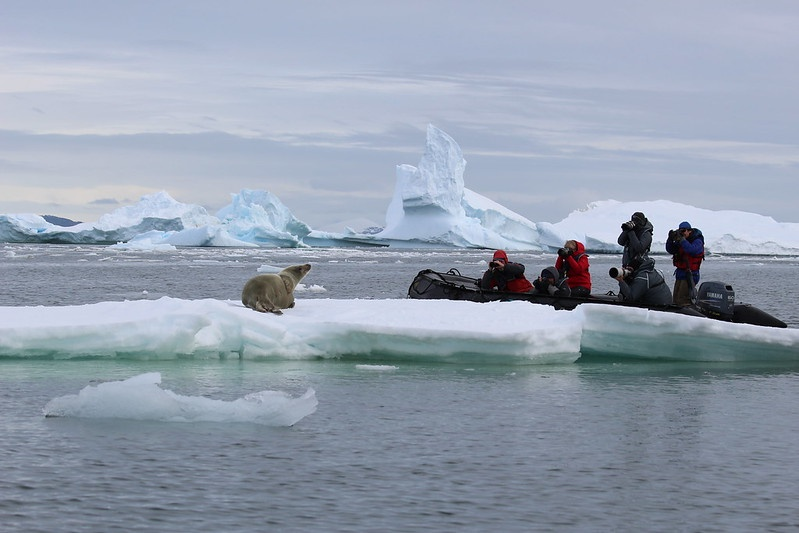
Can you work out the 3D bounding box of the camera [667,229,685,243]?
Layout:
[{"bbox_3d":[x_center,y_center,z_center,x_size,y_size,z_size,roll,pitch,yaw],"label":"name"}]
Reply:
[{"bbox_3d":[4.515,-0.476,20.552,0.302,0.193,0.113,5,1,27],"label":"camera"}]

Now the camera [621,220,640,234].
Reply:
[{"bbox_3d":[3.683,-0.629,20.138,0.188,0.112,0.446,-14,-5,24],"label":"camera"}]

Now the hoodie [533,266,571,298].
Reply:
[{"bbox_3d":[2.592,0.288,21.369,0.551,0.298,0.639,-2,-5,30],"label":"hoodie"}]

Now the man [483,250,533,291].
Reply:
[{"bbox_3d":[1.808,0.197,22.099,1.018,0.995,0.391,-9,50,10],"label":"man"}]

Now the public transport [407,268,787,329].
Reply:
[{"bbox_3d":[3.724,0.570,20.998,5.244,0.705,1.211,8,17,2],"label":"public transport"}]

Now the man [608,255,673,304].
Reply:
[{"bbox_3d":[3.901,0.282,20.555,1.269,0.641,0.541,7,13,-11],"label":"man"}]
